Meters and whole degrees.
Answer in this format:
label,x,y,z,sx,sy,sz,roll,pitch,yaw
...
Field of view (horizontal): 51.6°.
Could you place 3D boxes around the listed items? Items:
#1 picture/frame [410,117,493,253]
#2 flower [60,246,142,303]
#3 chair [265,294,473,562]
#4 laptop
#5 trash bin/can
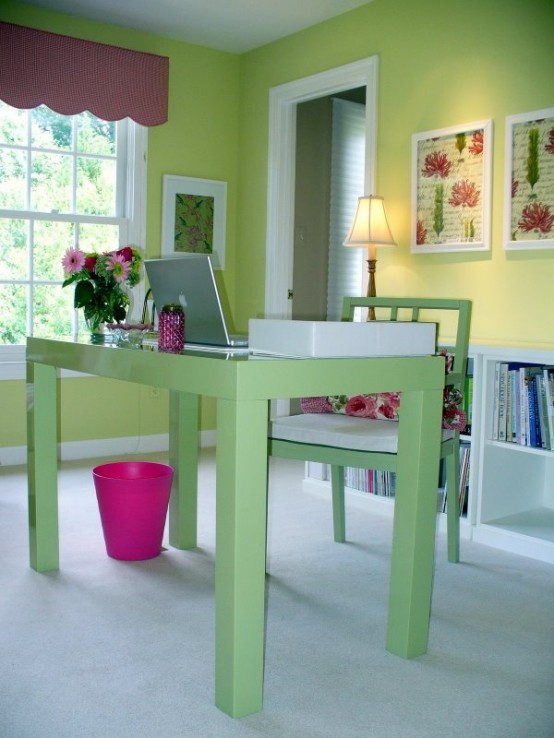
label,x,y,z,sx,sy,sz,roll,pitch,yaw
picture/frame,0.772,-0.802,2.573,0.080,0.575,0.438,-11,10,-34
flower,-0.560,-0.289,1.744,0.193,0.164,0.183,6,8,-6
chair,0.295,0.221,1.788,0.565,0.902,0.535,4,4,42
laptop,-0.170,-0.153,1.351,0.209,0.212,0.289,-10,13,-41
trash bin/can,-0.435,0.436,1.879,0.277,0.308,0.280,1,3,-8
